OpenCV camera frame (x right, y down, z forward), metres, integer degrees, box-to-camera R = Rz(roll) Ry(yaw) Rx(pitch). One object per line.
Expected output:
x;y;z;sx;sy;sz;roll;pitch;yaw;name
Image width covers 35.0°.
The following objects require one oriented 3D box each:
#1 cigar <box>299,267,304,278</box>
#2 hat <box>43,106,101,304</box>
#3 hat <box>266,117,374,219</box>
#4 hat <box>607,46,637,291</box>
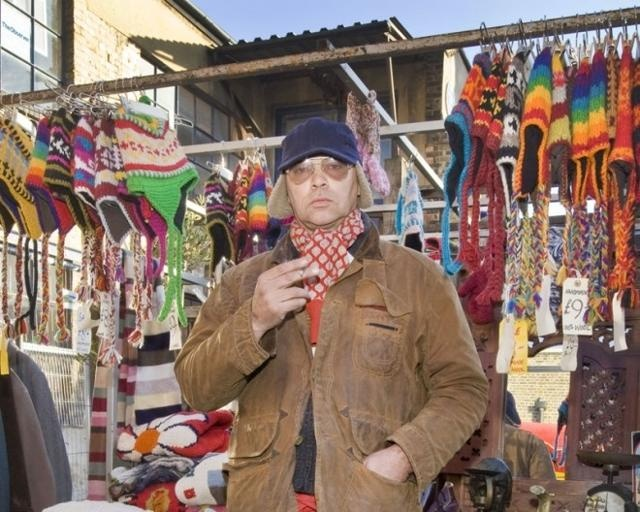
-0.077;0.086;5.030;0.023;0.039;0.017;2;-5;-15;cigar
-1.686;-0.481;7.006;0.193;1.020;0.538;2;-10;-10;hat
0.009;-0.564;5.554;0.437;0.452;0.513;-3;-20;2;hat
1.798;-0.526;6.009;0.162;1.481;0.384;-1;-5;18;hat
